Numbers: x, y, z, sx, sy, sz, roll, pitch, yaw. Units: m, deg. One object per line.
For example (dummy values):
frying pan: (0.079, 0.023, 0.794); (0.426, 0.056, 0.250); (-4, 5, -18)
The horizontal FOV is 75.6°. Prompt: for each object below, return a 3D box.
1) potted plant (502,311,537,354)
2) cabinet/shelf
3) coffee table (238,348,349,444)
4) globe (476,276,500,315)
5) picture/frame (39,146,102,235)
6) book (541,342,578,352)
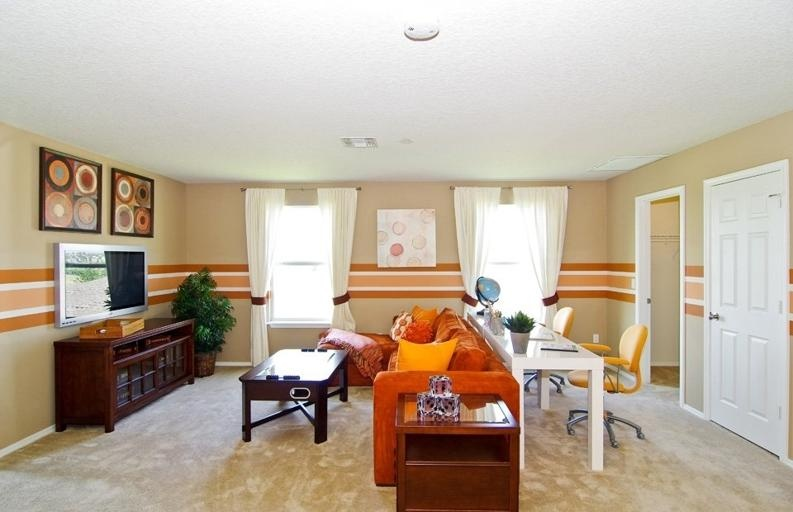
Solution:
potted plant: (1.277, 0.863, 5.733); (0.416, 0.419, 0.426); (1, -10, -2)
cabinet/shelf: (-3.566, 1.483, 6.933); (0.752, 0.979, 1.930); (0, 3, 4)
coffee table: (-1.225, 1.695, 6.477); (1.035, 0.720, 1.636); (0, 2, 1)
globe: (1.229, 0.492, 6.891); (0.379, 0.432, 0.290); (12, -29, -27)
picture/frame: (-3.988, -0.776, 6.280); (0.056, 0.979, 0.783); (0, 2, 24)
book: (1.811, 1.002, 5.725); (0.532, 0.048, 0.300); (-1, 1, 6)
